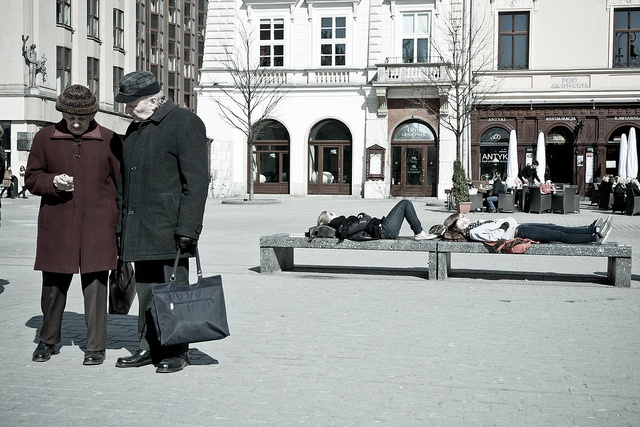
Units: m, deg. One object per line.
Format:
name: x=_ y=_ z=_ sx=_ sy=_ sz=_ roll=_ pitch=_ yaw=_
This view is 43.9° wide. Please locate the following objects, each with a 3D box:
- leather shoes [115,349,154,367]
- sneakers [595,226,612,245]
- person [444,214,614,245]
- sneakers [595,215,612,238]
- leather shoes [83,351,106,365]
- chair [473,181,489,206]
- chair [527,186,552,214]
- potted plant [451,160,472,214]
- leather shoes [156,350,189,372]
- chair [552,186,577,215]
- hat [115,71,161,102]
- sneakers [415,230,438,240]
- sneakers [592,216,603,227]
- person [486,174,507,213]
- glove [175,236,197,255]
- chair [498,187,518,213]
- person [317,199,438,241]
leather shoes: x=-2.009 y=1.574 z=8.657 sx=0.377 sy=0.168 sz=0.174 roll=3 pitch=-3 yaw=-13
sneakers: x=4.542 y=0.352 z=12.815 sx=0.164 sy=0.398 sz=0.127 roll=17 pitch=3 yaw=-8
person: x=3.267 y=0.277 z=12.606 sx=2.506 sy=0.438 sz=0.870 roll=3 pitch=-1 yaw=5
sneakers: x=4.387 y=0.195 z=12.323 sx=0.179 sy=0.471 sz=0.156 roll=17 pitch=-34 yaw=6
leather shoes: x=-2.460 y=1.587 z=8.700 sx=0.101 sy=0.119 sz=0.272 roll=0 pitch=-12 yaw=4
chair: x=5.902 y=-0.705 z=29.269 sx=0.532 sy=0.645 sz=1.006 roll=1 pitch=2 yaw=7
chair: x=7.745 y=-0.523 z=28.244 sx=0.948 sy=1.071 sz=0.718 roll=-4 pitch=7 yaw=-30
potted plant: x=4.589 y=-0.850 z=25.947 sx=0.571 sy=1.762 sz=1.113 roll=1 pitch=7 yaw=9
leather shoes: x=-1.570 y=1.608 z=8.555 sx=0.139 sy=0.147 sz=0.317 roll=-2 pitch=-4 yaw=42
chair: x=8.497 y=-0.454 z=27.657 sx=0.682 sy=0.984 sz=1.003 roll=0 pitch=7 yaw=-2
hat: x=-1.958 y=-1.346 z=8.587 sx=0.426 sy=0.213 sz=0.305 roll=-17 pitch=35 yaw=-19
sneakers: x=1.718 y=0.353 z=12.899 sx=0.351 sy=0.148 sz=0.139 roll=-1 pitch=4 yaw=-4
sneakers: x=4.365 y=0.115 z=12.515 sx=0.093 sy=0.263 sz=0.088 roll=21 pitch=-25 yaw=20
person: x=6.097 y=-0.685 z=27.593 sx=0.776 sy=1.381 sz=0.610 roll=-7 pitch=-14 yaw=41
glove: x=-1.399 y=0.350 z=8.492 sx=0.203 sy=0.185 sz=0.171 roll=-13 pitch=-12 yaw=35
chair: x=6.454 y=-0.438 z=27.566 sx=0.672 sy=1.001 sz=0.720 roll=2 pitch=0 yaw=11
person: x=0.824 y=0.200 z=13.001 sx=1.542 sy=0.542 sz=0.830 roll=-4 pitch=-3 yaw=7
